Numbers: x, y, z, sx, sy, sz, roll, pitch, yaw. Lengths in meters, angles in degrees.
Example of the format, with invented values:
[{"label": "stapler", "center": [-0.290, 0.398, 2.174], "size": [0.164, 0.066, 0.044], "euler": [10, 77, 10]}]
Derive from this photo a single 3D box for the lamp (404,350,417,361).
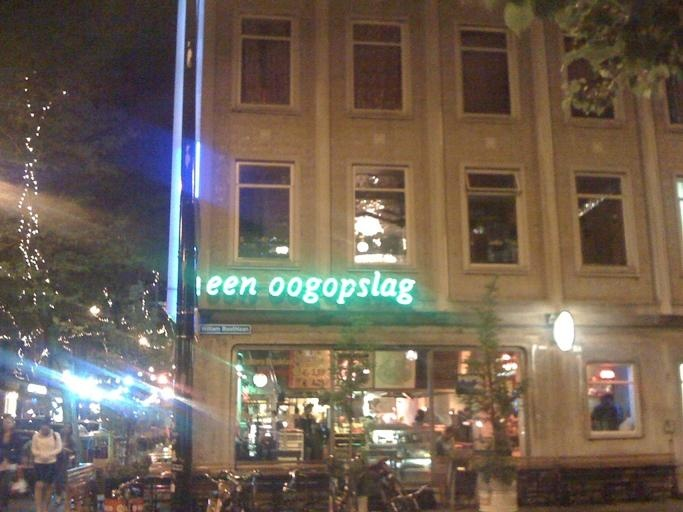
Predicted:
[{"label": "lamp", "center": [2.029, 2.908, 24.822], "size": [0.297, 0.293, 0.071], "euler": [3, -12, -6]}]
